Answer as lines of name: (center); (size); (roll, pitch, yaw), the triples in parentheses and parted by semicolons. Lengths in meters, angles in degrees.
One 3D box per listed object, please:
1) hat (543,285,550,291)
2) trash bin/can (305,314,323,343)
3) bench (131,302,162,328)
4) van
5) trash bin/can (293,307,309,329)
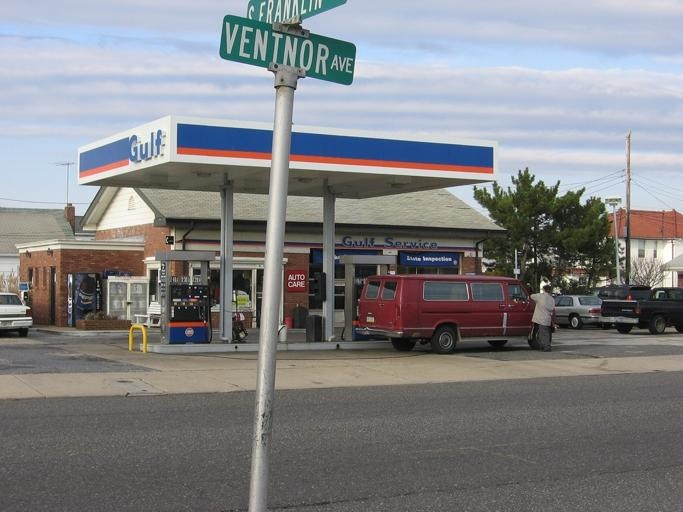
hat: (5.743, 0.903, 22.681); (0.147, 0.175, 0.181); (9, 18, 24)
trash bin/can: (-0.787, 2.110, 23.897); (0.492, 0.774, 0.397); (0, -1, 2)
bench: (-7.313, 2.199, 30.433); (0.772, 1.021, 1.306); (4, -5, -35)
van: (3.116, 1.469, 22.852); (4.373, 1.700, 2.515); (-2, 1, -26)
trash bin/can: (-1.580, 2.339, 31.326); (0.531, 0.845, 0.304); (0, -1, -8)
